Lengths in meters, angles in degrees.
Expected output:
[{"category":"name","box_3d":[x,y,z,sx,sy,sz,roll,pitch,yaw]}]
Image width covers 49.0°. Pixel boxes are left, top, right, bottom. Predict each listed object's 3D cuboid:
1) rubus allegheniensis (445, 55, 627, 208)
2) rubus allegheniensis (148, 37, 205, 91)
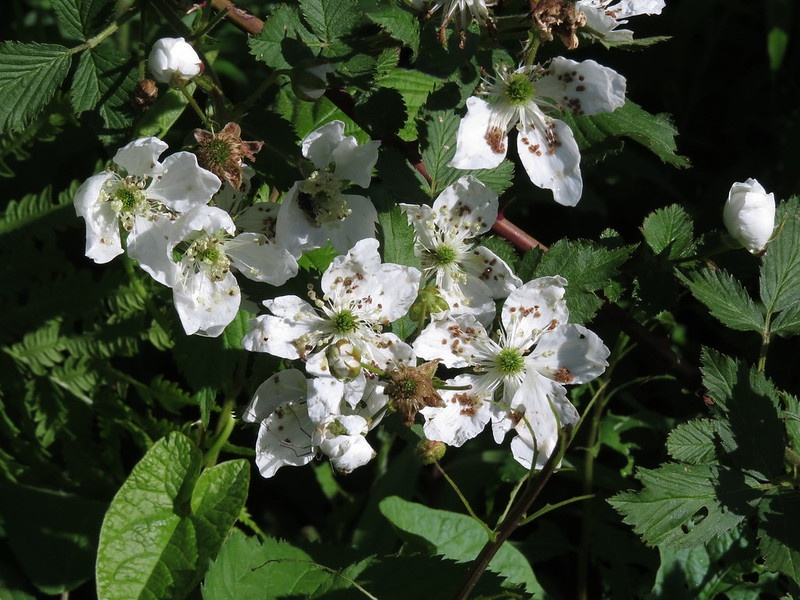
[{"category":"rubus allegheniensis","box_3d":[0.310,-0.435,2.114,0.176,0.329,0.385,-54,31,13]},{"category":"rubus allegheniensis","box_3d":[-0.509,-0.548,1.998,0.105,0.114,0.073,-3,21,-27]}]
